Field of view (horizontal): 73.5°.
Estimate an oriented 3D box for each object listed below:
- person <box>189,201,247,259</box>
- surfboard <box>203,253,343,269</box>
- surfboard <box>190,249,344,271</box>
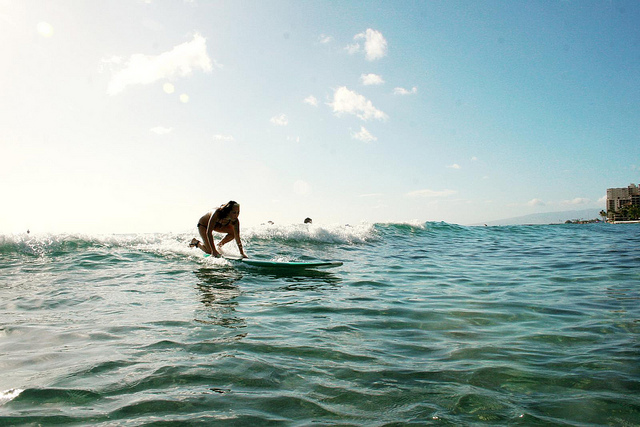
[{"bbox_3d":[-2.800,0.517,11.338,2.257,1.255,1.191,-5,-4,39],"label":"person"},{"bbox_3d":[-1.323,1.270,11.069,3.307,0.222,0.421,0,-7,8],"label":"surfboard"},{"bbox_3d":[-1.514,1.265,11.298,3.605,0.224,0.577,0,-4,16],"label":"surfboard"}]
